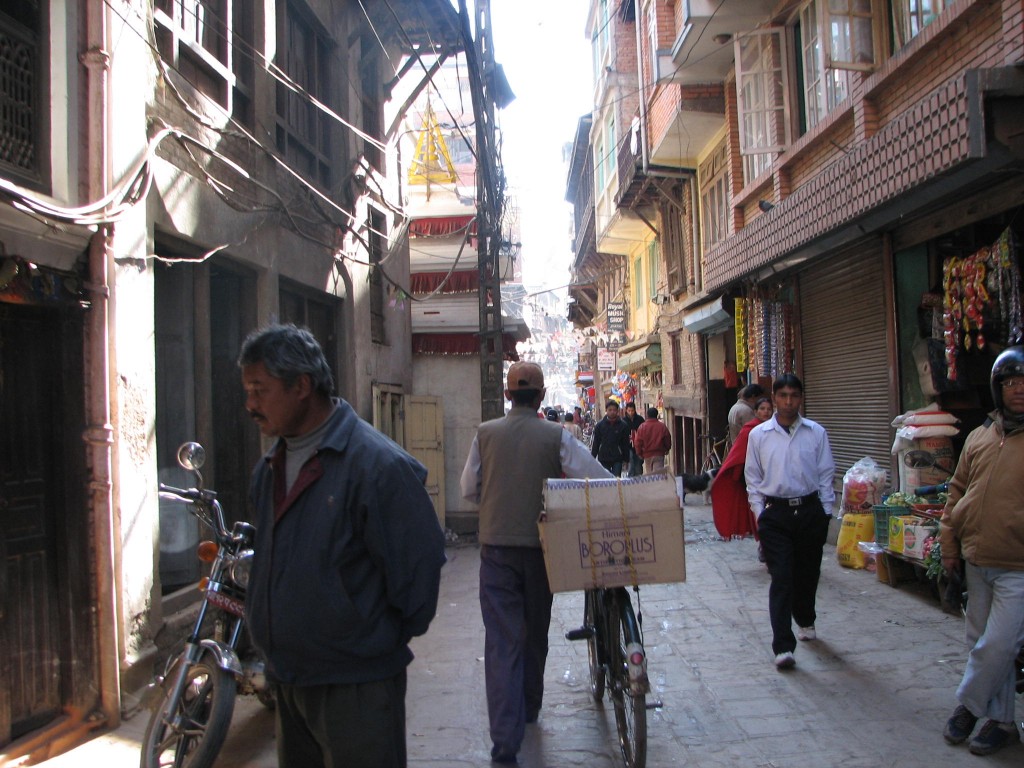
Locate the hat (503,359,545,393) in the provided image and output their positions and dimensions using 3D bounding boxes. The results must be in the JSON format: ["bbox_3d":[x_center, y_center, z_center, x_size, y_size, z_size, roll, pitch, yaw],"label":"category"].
[{"bbox_3d":[0.101,-0.060,6.838,0.236,0.208,0.421,3,3,4],"label":"hat"}]

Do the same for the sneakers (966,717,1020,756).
[{"bbox_3d":[3.047,2.202,6.303,0.426,0.196,0.147,0,-7,-35],"label":"sneakers"}]

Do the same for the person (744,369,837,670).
[{"bbox_3d":[2.270,1.043,7.969,0.653,2.228,0.738,-2,3,-6],"label":"person"}]

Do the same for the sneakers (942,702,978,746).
[{"bbox_3d":[2.874,2.191,6.424,0.117,0.164,0.375,1,8,27],"label":"sneakers"}]

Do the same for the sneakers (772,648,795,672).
[{"bbox_3d":[2.103,2.126,7.661,0.093,0.093,0.188,0,-5,2],"label":"sneakers"}]
